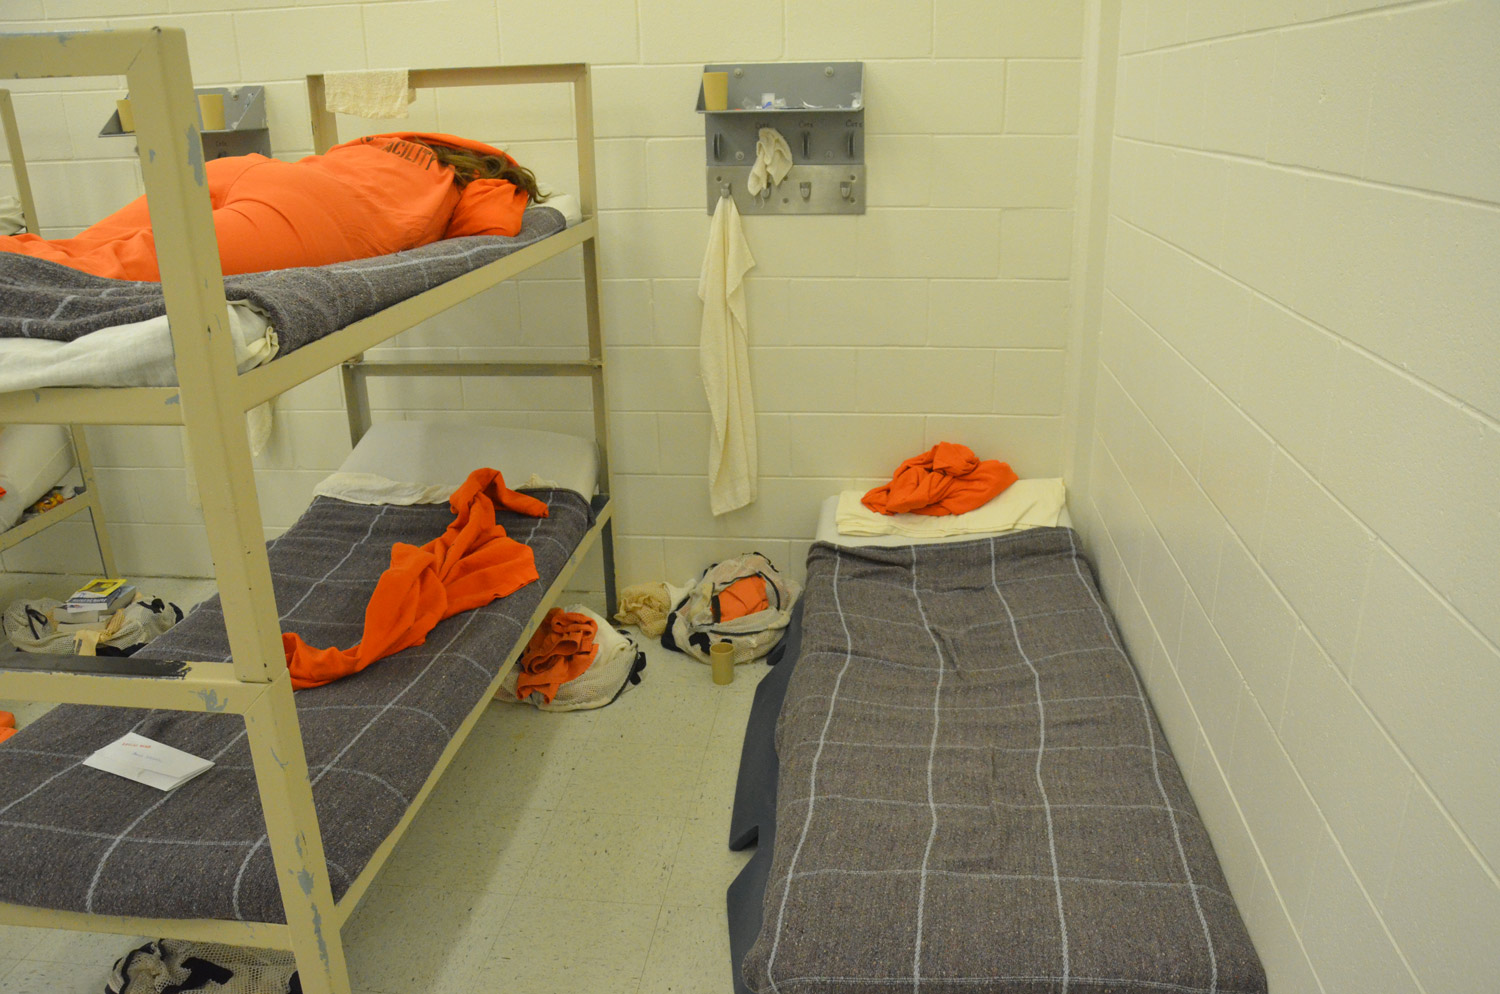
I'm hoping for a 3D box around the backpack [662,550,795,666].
[{"bbox_3d":[-0.074,0.464,3.756,0.372,0.176,0.427,38,49,27],"label":"backpack"}]

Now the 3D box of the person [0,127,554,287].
[{"bbox_3d":[-1.145,-0.764,2.659,0.810,0.233,0.984,7,19,16],"label":"person"}]

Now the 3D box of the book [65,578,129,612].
[{"bbox_3d":[-2.311,0.351,3.576,0.142,0.032,0.135,0,25,8],"label":"book"}]

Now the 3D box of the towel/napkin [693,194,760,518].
[{"bbox_3d":[-0.073,-0.497,3.707,0.200,1.131,0.218,-2,25,-1],"label":"towel/napkin"}]

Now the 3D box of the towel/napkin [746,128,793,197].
[{"bbox_3d":[0.073,-1.144,3.514,0.153,0.226,0.069,0,25,5],"label":"towel/napkin"}]

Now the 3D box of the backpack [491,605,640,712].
[{"bbox_3d":[-0.600,0.554,3.451,0.377,0.130,0.356,-5,31,-10],"label":"backpack"}]

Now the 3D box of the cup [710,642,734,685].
[{"bbox_3d":[-0.092,0.576,3.496,0.133,0.128,0.103,2,16,4],"label":"cup"}]
